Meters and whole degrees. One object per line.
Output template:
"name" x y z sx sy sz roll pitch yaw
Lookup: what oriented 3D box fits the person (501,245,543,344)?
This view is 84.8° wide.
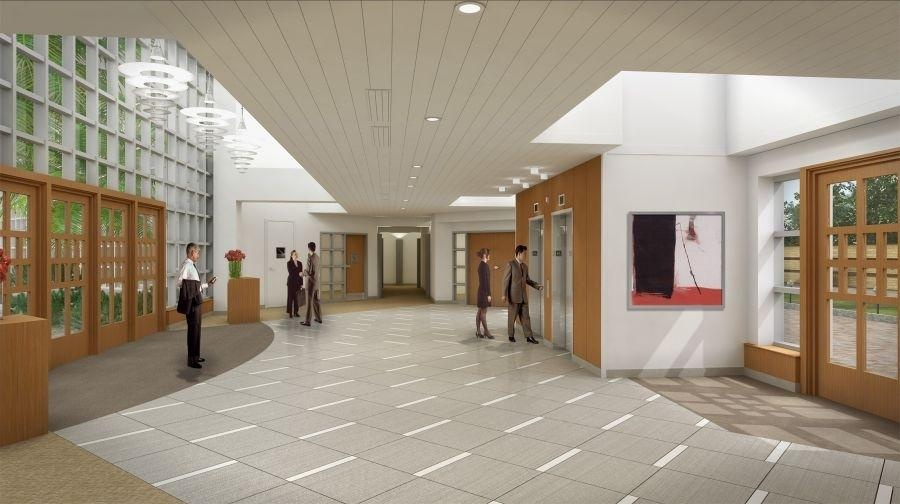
"person" 1.887 1.074 12.774 0.933 2.503 1.003 3 12 12
